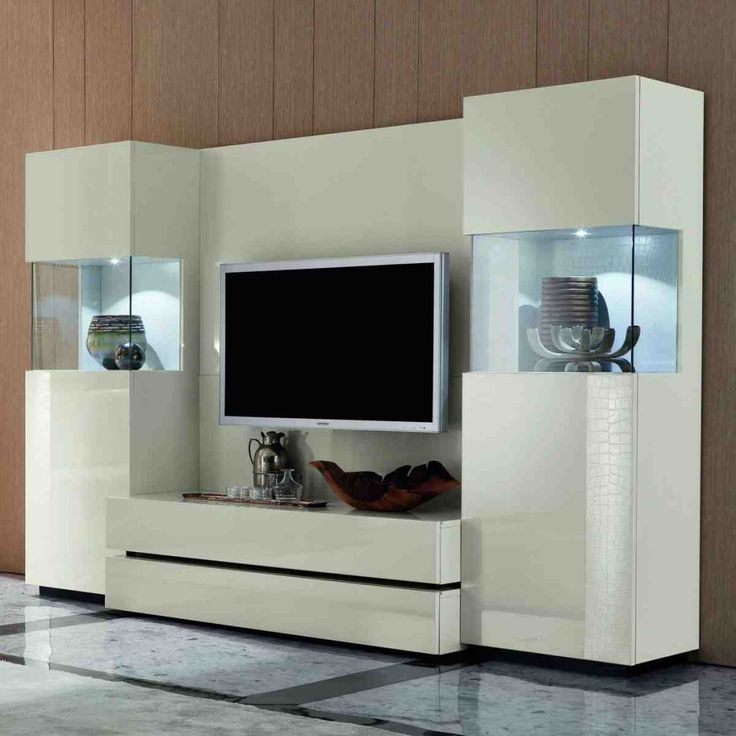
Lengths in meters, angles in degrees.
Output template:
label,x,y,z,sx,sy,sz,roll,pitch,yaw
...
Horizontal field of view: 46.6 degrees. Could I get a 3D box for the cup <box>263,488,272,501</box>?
label,x,y,z,sx,sy,sz,roll,pitch,yaw
cup,-0.471,0.597,3.963,0.042,0.080,0.043,1,2,0

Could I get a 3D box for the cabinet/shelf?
label,x,y,z,sx,sy,sz,roll,pitch,yaw
cabinet/shelf,-0.150,-0.031,3.813,3.104,2.267,0.789,-2,0,31

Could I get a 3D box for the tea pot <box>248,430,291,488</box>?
label,x,y,z,sx,sy,sz,roll,pitch,yaw
tea pot,-0.482,0.463,4.196,0.206,0.273,0.176,0,2,2

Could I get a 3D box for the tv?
label,x,y,z,sx,sy,sz,roll,pitch,yaw
tv,-0.184,-0.096,4.026,1.278,0.800,0.126,0,1,31
